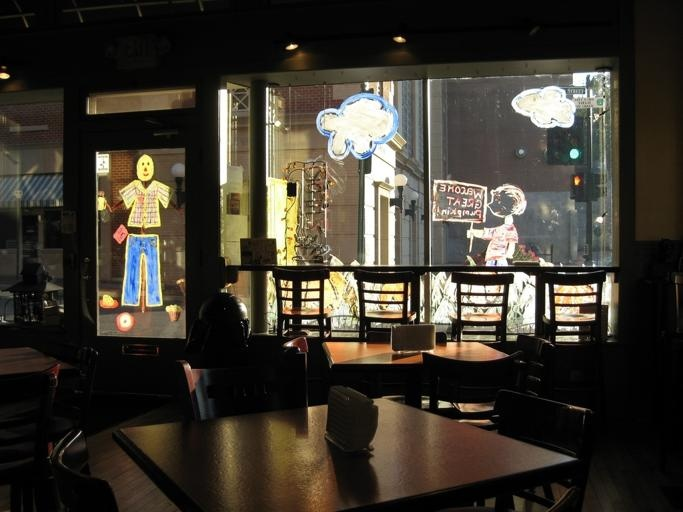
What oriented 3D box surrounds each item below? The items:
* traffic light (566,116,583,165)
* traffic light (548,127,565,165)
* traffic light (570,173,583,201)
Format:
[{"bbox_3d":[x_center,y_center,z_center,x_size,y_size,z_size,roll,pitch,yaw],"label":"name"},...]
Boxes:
[{"bbox_3d":[2.401,-1.181,7.494,0.062,0.462,0.164,-2,2,-37],"label":"traffic light"},{"bbox_3d":[2.244,-1.141,7.644,0.071,0.375,0.219,-2,2,-36],"label":"traffic light"},{"bbox_3d":[2.422,-0.701,7.493,0.050,0.289,0.194,-1,2,-23],"label":"traffic light"}]
